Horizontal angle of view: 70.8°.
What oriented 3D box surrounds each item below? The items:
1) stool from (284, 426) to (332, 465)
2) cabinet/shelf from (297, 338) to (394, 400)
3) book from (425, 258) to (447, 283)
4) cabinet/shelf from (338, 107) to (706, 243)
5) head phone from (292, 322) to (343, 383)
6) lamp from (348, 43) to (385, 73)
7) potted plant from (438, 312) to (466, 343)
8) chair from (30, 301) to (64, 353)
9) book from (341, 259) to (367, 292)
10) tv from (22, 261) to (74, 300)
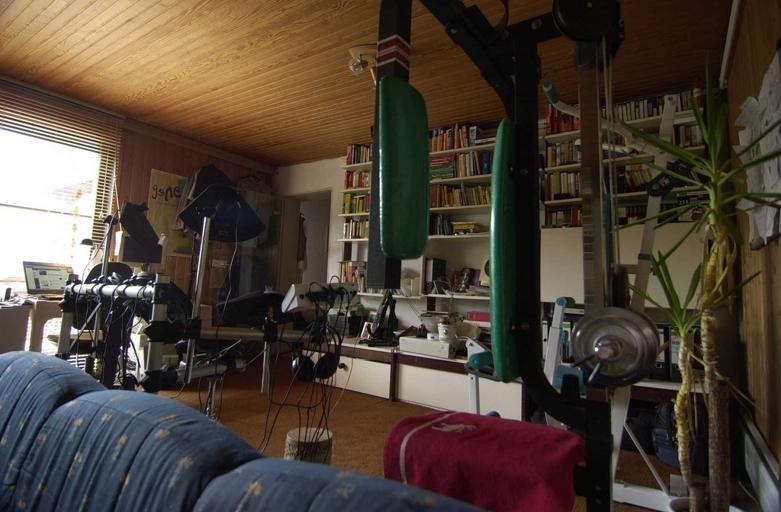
[{"bbox_3d":[-0.539,1.167,3.603,0.262,0.287,0.260,4,-4,-30],"label":"stool"},{"bbox_3d":[-0.267,1.139,5.952,0.885,0.403,0.315,1,-2,33],"label":"cabinet/shelf"},{"bbox_3d":[0.499,0.155,6.048,0.074,0.221,0.229,-9,-15,36],"label":"book"},{"bbox_3d":[0.952,-0.806,5.755,3.151,1.099,0.462,-10,12,-13],"label":"cabinet/shelf"},{"bbox_3d":[-0.533,0.667,3.818,0.317,0.426,0.172,-5,-1,15],"label":"head phone"},{"bbox_3d":[-0.258,-1.768,4.939,0.233,0.206,0.385,2,-3,-6],"label":"lamp"},{"bbox_3d":[0.668,0.709,5.509,0.210,0.291,0.281,-4,-17,30],"label":"potted plant"},{"bbox_3d":[-3.339,0.663,5.313,0.237,0.505,0.214,5,-5,-35],"label":"chair"},{"bbox_3d":[-0.460,0.233,6.635,0.436,0.361,0.176,0,-4,30],"label":"book"},{"bbox_3d":[-3.466,0.226,5.682,0.483,0.373,0.409,3,0,-9],"label":"tv"}]
